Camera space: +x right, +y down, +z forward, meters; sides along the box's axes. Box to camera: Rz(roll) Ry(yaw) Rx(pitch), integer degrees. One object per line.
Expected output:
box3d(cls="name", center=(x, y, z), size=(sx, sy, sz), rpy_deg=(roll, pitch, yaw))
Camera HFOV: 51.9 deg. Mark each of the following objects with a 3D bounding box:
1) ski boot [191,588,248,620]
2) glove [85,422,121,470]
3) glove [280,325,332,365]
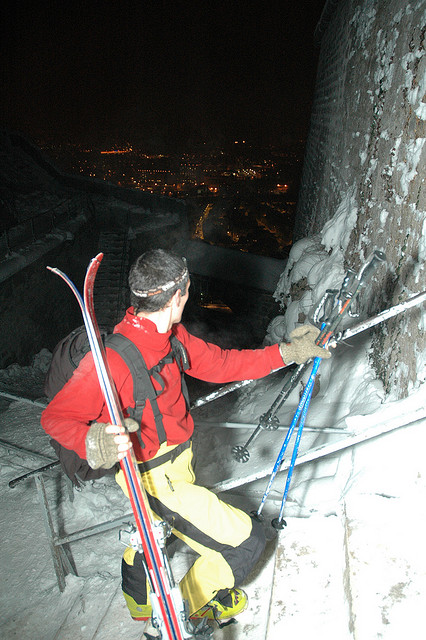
box3d(cls="ski boot", center=(0.023, 1.309, 2.033), size=(0.308, 0.108, 0.144), rpy_deg=(-18, -24, 8))
box3d(cls="glove", center=(-0.381, 0.442, 1.590), size=(0.139, 0.146, 0.060), rpy_deg=(6, 5, 33))
box3d(cls="glove", center=(0.520, 0.143, 2.395), size=(0.126, 0.195, 0.392), rpy_deg=(-4, -2, -32))
